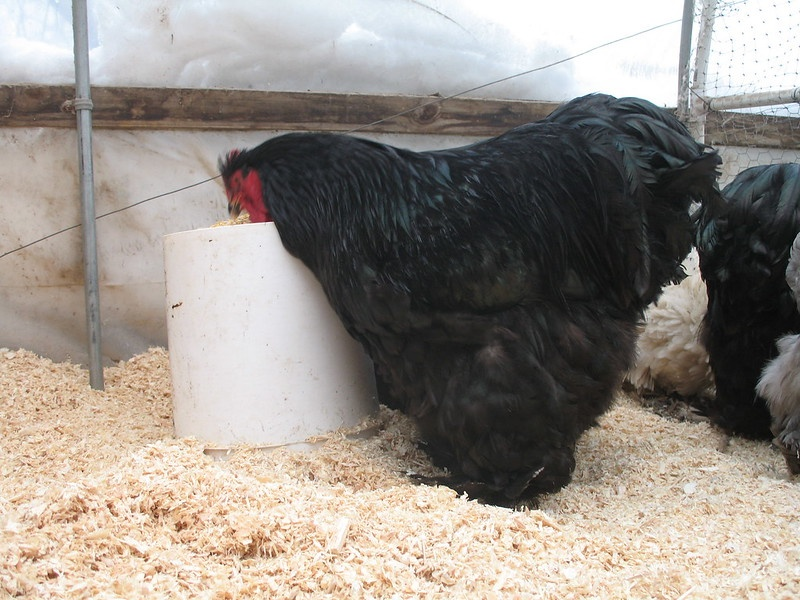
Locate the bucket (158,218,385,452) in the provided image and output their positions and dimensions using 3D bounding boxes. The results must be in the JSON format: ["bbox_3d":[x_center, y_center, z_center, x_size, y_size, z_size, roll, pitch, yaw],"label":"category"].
[{"bbox_3d":[-0.526,0.168,5.063,0.970,0.993,0.913,-3,-1,0],"label":"bucket"}]
